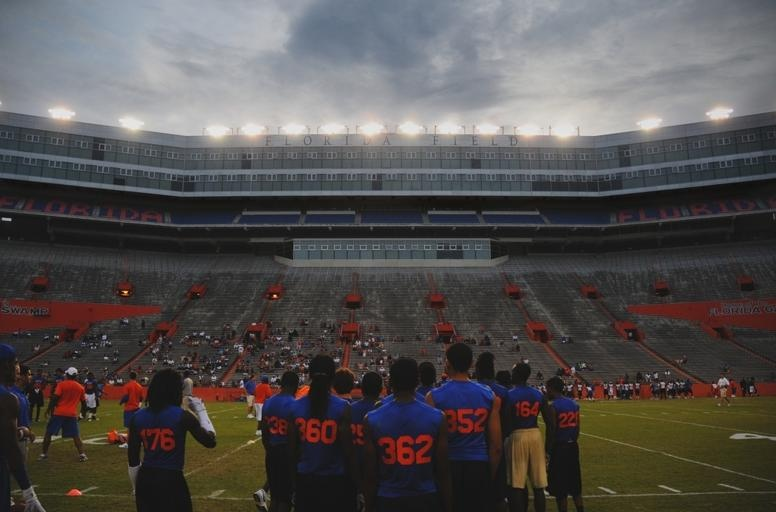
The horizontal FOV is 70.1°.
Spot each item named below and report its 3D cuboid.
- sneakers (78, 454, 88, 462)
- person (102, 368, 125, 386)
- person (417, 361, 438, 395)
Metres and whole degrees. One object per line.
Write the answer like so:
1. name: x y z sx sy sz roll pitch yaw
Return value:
1. sneakers: -9.715 6.415 17.743 0.413 0.234 0.179 0 -3 15
2. person: -19.676 8.701 39.630 1.415 0.505 1.728 6 10 -17
3. person: 0.910 2.879 13.261 0.676 0.668 0.681 4 17 0
